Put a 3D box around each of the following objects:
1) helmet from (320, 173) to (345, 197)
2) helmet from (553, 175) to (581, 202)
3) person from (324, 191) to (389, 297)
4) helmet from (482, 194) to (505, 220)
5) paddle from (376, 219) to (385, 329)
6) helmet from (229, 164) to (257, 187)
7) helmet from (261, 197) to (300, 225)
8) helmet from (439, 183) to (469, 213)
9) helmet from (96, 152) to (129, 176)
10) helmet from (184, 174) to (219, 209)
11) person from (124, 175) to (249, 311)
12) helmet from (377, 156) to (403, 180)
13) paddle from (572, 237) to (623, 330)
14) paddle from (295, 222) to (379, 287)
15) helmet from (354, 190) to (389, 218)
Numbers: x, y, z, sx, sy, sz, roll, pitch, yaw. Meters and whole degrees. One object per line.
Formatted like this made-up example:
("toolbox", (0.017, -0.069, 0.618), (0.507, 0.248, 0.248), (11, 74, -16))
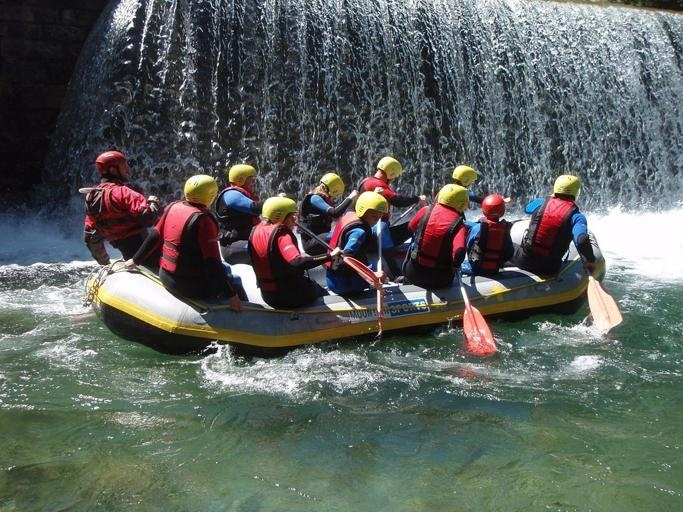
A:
("helmet", (-0.111, -0.971, 8.449), (0.348, 0.277, 0.256), (8, 21, -34))
("helmet", (3.007, -0.916, 8.296), (0.329, 0.381, 0.433), (9, 16, 23))
("person", (0.310, -0.165, 7.425), (0.959, 1.197, 0.962), (10, 21, 8))
("helmet", (1.949, -0.610, 7.890), (0.273, 0.327, 0.244), (6, 8, 10))
("paddle", (0.476, 0.223, 7.528), (0.102, 1.286, 0.138), (2, -4, 2))
("helmet", (-1.294, -1.077, 8.119), (0.354, 0.266, 0.254), (-12, 19, -7))
("helmet", (-0.683, -0.513, 6.879), (0.366, 0.275, 0.251), (-5, 19, -11))
("helmet", (1.368, -0.700, 7.547), (0.363, 0.336, 0.241), (5, 8, 6))
("helmet", (-2.841, -1.140, 7.731), (0.408, 0.323, 0.297), (-16, 25, -21))
("helmet", (-1.590, -0.760, 6.914), (0.306, 0.373, 0.394), (30, 36, 30))
("person", (-1.777, -0.083, 7.159), (1.024, 1.383, 1.020), (33, 37, 17))
("helmet", (0.724, -1.288, 8.897), (0.376, 0.287, 0.263), (-7, 39, -26))
("paddle", (3.358, 0.617, 8.019), (0.299, 0.118, 0.810), (-26, 48, 9))
("paddle", (-0.056, 0.001, 7.382), (1.221, 0.119, 0.255), (34, 2, -13))
("helmet", (0.342, -0.635, 7.192), (0.357, 0.274, 0.268), (-14, 26, -5))
